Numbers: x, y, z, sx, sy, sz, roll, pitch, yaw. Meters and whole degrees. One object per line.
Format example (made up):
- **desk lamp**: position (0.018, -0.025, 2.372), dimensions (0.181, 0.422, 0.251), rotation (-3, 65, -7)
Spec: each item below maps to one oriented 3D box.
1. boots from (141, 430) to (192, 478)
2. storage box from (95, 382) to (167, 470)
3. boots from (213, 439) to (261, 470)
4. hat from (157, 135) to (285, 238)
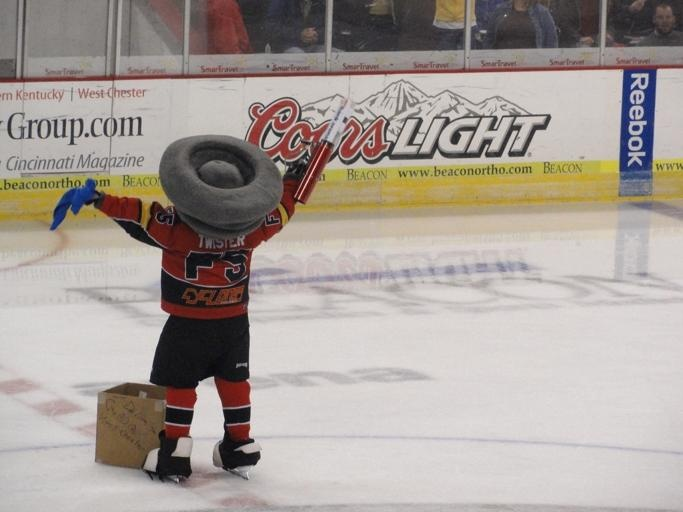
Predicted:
- **boots**: position (-1.529, 1.763, 11.436), dimensions (0.457, 0.367, 0.342), rotation (5, 2, 35)
- **storage box**: position (-2.068, 1.522, 11.666), dimensions (0.847, 0.646, 0.741), rotation (5, -6, -1)
- **boots**: position (-0.936, 1.759, 11.615), dimensions (0.406, 0.307, 0.694), rotation (1, -9, -20)
- **hat**: position (-1.080, -0.609, 11.281), dimensions (1.080, 0.890, 0.464), rotation (1, 8, -5)
